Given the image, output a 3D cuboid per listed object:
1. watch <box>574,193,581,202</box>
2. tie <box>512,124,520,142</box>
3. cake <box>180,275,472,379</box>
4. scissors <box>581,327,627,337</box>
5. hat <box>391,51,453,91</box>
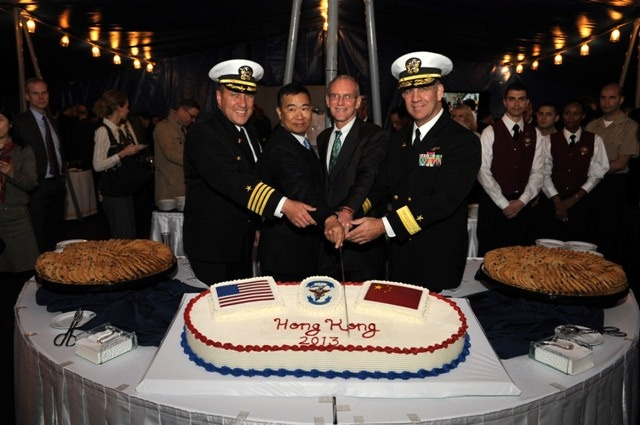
[{"bbox_3d":[3.346,-0.212,6.172,0.093,0.092,0.037,-9,10,-17],"label":"watch"},{"bbox_3d":[2.295,-0.963,5.547,0.080,0.186,0.076,2,16,11],"label":"tie"},{"bbox_3d":[0.069,0.791,3.123,1.549,0.268,0.746,1,13,1],"label":"cake"},{"bbox_3d":[2.021,0.855,3.392,0.219,0.018,0.126,-5,6,3],"label":"scissors"},{"bbox_3d":[0.869,-1.246,4.065,0.498,0.311,0.339,1,16,10],"label":"hat"}]
